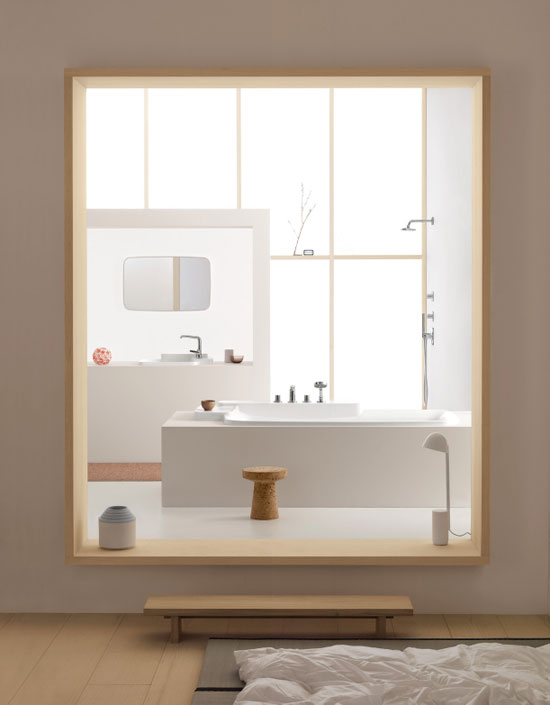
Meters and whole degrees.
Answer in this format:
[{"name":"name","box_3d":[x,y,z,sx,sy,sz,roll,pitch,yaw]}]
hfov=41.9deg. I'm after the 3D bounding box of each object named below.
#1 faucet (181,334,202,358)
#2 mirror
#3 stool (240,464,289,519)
[{"name":"faucet","box_3d":[-0.762,-0.065,6.612,0.203,0.224,0.238,-1,2,-6]},{"name":"mirror","box_3d":[-0.981,-0.644,6.738,0.803,0.525,0.086,-1,17,-12]},{"name":"stool","box_3d":[-0.060,0.854,4.411,0.271,0.289,0.274,0,-1,9]}]
